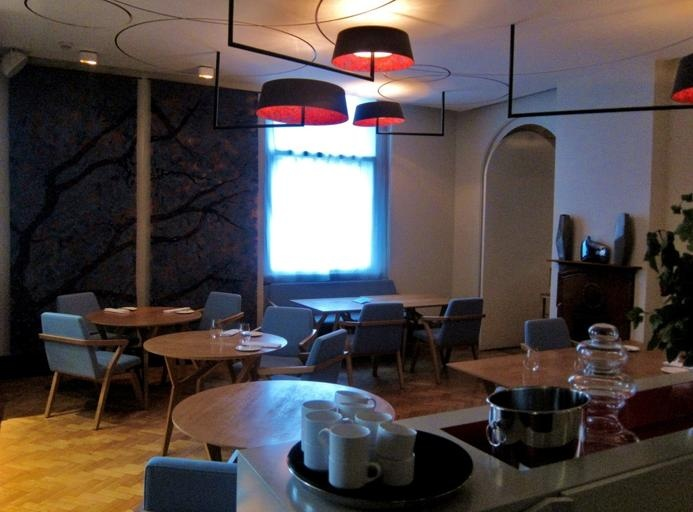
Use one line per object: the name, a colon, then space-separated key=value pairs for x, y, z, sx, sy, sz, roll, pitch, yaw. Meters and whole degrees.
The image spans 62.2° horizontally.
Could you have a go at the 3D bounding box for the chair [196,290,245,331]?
chair: x=-1.405 y=0.607 z=6.462 sx=0.475 sy=0.568 sz=0.485 roll=3 pitch=-3 yaw=9

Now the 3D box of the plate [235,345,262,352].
plate: x=-0.803 y=0.746 z=4.692 sx=0.200 sy=0.043 sz=0.120 roll=0 pitch=3 yaw=-6

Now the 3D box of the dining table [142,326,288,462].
dining table: x=-1.113 y=0.931 z=5.017 sx=1.136 sy=0.824 sz=1.095 roll=10 pitch=16 yaw=18

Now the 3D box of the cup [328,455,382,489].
cup: x=0.027 y=0.739 z=1.981 sx=0.158 sy=0.069 sz=0.093 roll=1 pitch=-2 yaw=12

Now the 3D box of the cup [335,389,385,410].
cup: x=0.060 y=0.591 z=2.471 sx=0.170 sy=0.108 sz=0.127 roll=1 pitch=-7 yaw=-4

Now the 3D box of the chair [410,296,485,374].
chair: x=1.251 y=0.984 z=7.130 sx=0.718 sy=0.933 sz=0.787 roll=-1 pitch=0 yaw=-28

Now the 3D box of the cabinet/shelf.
cabinet/shelf: x=2.624 y=0.454 z=5.979 sx=0.417 sy=0.897 sz=0.954 roll=3 pitch=-2 yaw=-26

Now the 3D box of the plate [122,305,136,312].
plate: x=-2.432 y=0.577 z=6.345 sx=0.220 sy=0.052 sz=0.075 roll=5 pitch=6 yaw=29

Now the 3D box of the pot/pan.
pot/pan: x=0.740 y=0.654 z=2.236 sx=0.390 sy=0.250 sz=0.227 roll=1 pitch=3 yaw=14

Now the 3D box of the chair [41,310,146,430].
chair: x=-2.435 y=1.030 z=5.551 sx=0.784 sy=0.948 sz=0.842 roll=2 pitch=1 yaw=11

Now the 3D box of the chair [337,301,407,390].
chair: x=0.228 y=1.008 z=6.681 sx=0.766 sy=0.970 sz=0.811 roll=1 pitch=-1 yaw=-36

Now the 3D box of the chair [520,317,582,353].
chair: x=1.801 y=0.694 z=5.084 sx=0.401 sy=0.503 sz=0.425 roll=-2 pitch=-5 yaw=-7

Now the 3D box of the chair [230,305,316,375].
chair: x=-0.659 y=0.916 z=5.515 sx=0.639 sy=0.773 sz=0.666 roll=4 pitch=5 yaw=14

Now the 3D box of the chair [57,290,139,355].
chair: x=-2.764 y=0.761 z=6.496 sx=0.764 sy=0.894 sz=0.711 roll=1 pitch=0 yaw=28
